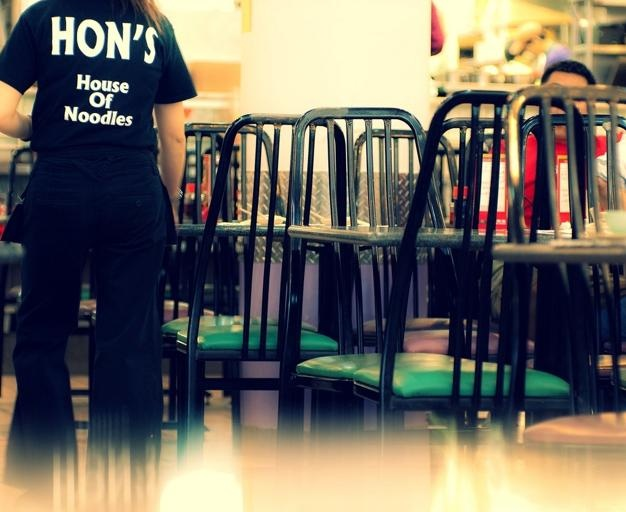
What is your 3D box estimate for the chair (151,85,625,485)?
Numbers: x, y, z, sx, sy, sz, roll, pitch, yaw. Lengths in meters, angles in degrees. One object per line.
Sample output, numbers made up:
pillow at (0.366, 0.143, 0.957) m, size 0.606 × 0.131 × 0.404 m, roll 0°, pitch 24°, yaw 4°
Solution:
chair at (0.210, 0.108, 2.540) m, size 1.114 × 1.248 × 0.884 m, roll -1°, pitch 5°, yaw -18°
